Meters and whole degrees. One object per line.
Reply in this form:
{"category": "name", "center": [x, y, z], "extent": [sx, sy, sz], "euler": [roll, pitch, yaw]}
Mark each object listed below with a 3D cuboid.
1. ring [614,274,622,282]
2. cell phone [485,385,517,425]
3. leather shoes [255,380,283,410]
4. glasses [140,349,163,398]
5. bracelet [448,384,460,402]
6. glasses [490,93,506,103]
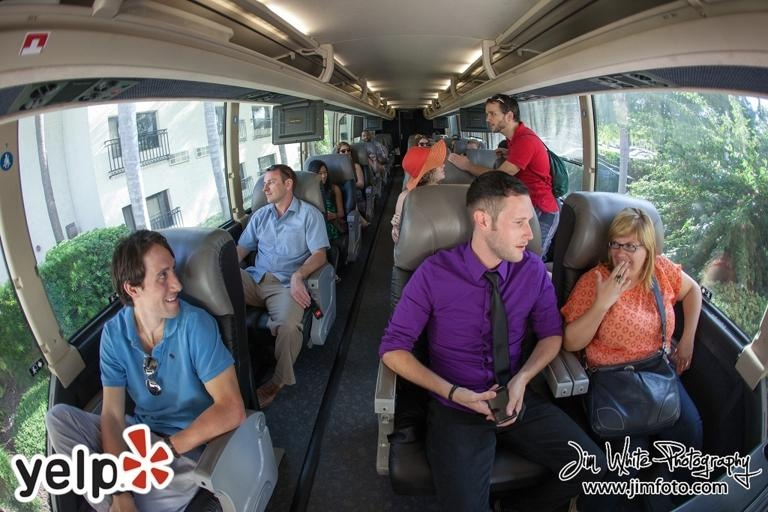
{"category": "ring", "center": [1.471, 0.138, 2.766], "extent": [0.032, 0.046, 0.016], "euler": [-6, -37, 33]}
{"category": "cell phone", "center": [0.694, 0.889, 2.646], "extent": [0.148, 0.214, 0.048], "euler": [3, -16, -6]}
{"category": "leather shoes", "center": [-0.991, 1.177, 3.765], "extent": [0.116, 0.120, 0.284], "euler": [16, 7, 10]}
{"category": "glasses", "center": [-1.385, 0.709, 2.635], "extent": [0.077, 0.232, 0.138], "euler": [-4, -5, 30]}
{"category": "bracelet", "center": [0.420, 0.840, 2.703], "extent": [0.020, 0.079, 0.082], "euler": [16, 11, 18]}
{"category": "glasses", "center": [1.015, -1.402, 3.958], "extent": [0.124, 0.072, 0.050], "euler": [-1, 11, 15]}
